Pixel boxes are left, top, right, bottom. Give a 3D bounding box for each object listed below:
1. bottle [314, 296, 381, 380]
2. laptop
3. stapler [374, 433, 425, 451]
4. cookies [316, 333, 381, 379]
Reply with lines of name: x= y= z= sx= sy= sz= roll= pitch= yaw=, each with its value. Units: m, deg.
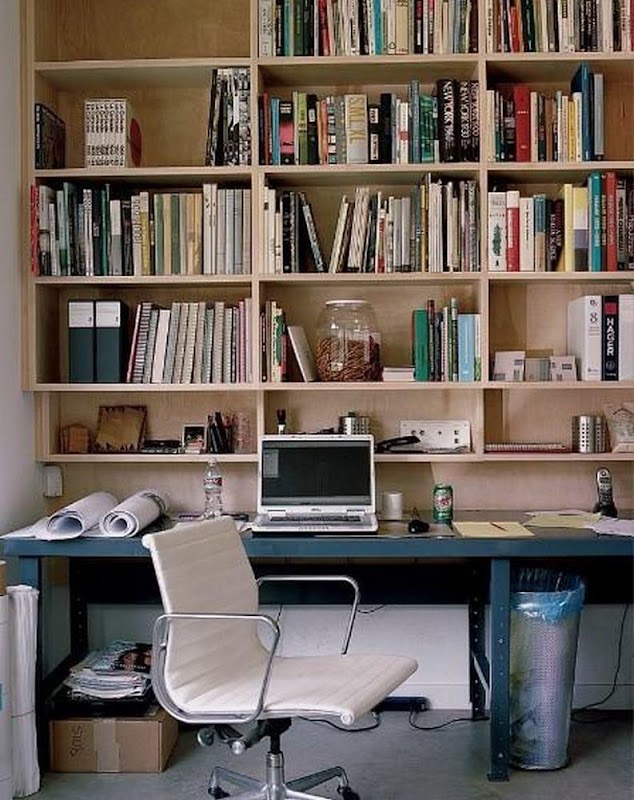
bottle: x=0.117 y=-0.221 z=3.044 sx=0.248 sy=0.369 sz=0.238 roll=0 pitch=-2 yaw=0
laptop: x=0.005 y=0.272 z=2.733 sx=0.347 sy=0.299 sz=0.303 roll=0 pitch=-3 yaw=2
stapler: x=0.306 y=0.163 z=2.968 sx=0.138 sy=0.063 sz=0.073 roll=3 pitch=0 yaw=-3
cookies: x=0.117 y=-0.147 z=2.934 sx=0.157 sy=0.130 sz=0.171 roll=0 pitch=4 yaw=1
